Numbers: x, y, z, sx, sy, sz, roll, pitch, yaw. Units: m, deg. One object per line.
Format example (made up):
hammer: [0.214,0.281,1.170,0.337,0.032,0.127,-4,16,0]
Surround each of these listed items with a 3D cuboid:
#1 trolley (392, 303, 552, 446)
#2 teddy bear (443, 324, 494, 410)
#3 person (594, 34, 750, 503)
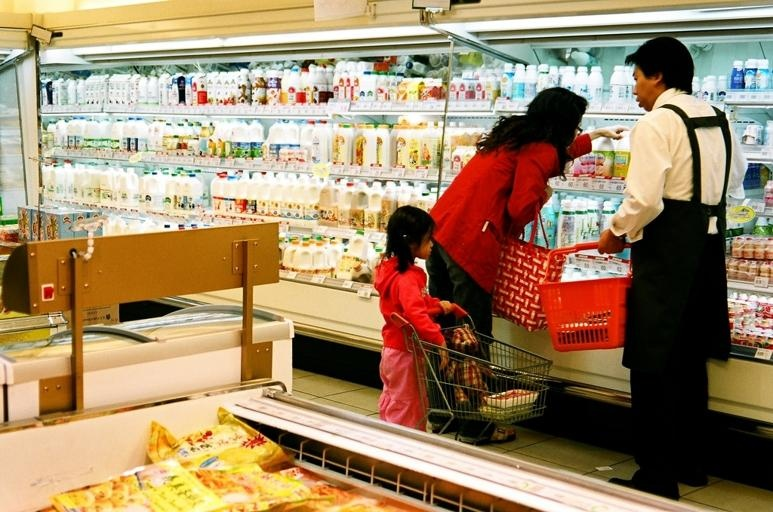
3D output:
trolley: [0.638,0.709,3.554,0.686,0.880,1.008,12,-7,13]
teddy bear: [0.447,0.618,3.397,0.281,0.413,0.439,-7,0,-16]
person: [1.604,0.074,3.503,0.701,2.580,0.497,-7,12,-31]
